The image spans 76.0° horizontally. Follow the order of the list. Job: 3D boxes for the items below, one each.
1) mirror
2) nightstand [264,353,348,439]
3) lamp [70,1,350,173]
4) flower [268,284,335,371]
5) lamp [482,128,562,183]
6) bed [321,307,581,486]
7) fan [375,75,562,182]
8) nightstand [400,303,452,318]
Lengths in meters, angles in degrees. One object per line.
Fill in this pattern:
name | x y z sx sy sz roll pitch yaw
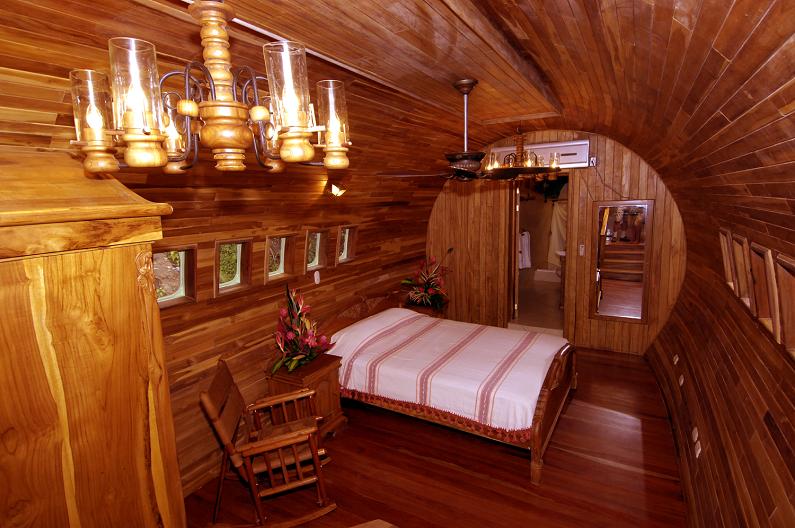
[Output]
mirror | 2.966 -0.031 6.688 0.072 1.534 0.742 -5 8 -40
nightstand | -0.911 1.306 4.980 0.727 0.632 0.719 -1 5 10
lamp | -0.885 -0.809 2.419 1.204 0.745 0.808 -4 13 -14
flower | -0.987 0.625 4.980 0.720 0.715 0.660 -5 10 -31
lamp | 1.109 -0.935 4.527 0.749 0.288 0.708 -7 1 -35
bed | 0.507 1.225 5.024 1.861 0.552 1.511 4 11 29
fan | 0.615 -1.091 4.186 1.517 0.719 1.566 1 11 5
nightstand | 0.468 0.712 7.424 0.352 0.228 0.510 -7 7 -25
